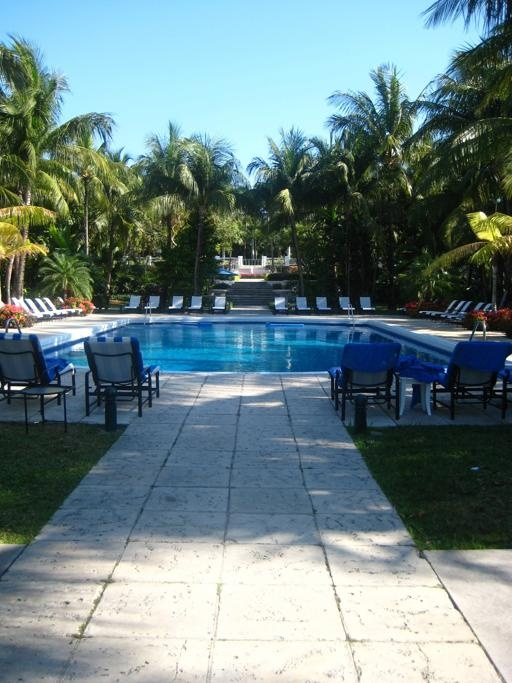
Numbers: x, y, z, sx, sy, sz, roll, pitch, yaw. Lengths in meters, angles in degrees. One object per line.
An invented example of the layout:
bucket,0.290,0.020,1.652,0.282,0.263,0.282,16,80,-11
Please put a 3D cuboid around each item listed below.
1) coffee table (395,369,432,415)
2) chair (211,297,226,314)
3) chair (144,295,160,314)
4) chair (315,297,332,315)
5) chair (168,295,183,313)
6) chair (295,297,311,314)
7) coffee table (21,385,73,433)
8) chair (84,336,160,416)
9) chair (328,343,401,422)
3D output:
coffee table,2.087,0.686,7.126,0.516,0.524,0.530,0,-1,4
chair,-1.791,-1.807,26.024,0.623,1.009,0.791,1,-4,-1
chair,-5.038,-1.815,25.760,0.684,1.162,1.139,4,1,1
chair,3.207,-1.767,25.713,0.551,0.749,0.858,1,4,2
chair,-3.893,-1.855,26.416,0.689,1.022,0.770,3,-1,1
chair,2.236,-1.820,26.058,0.570,0.880,0.874,1,-17,-3
coffee table,-2.559,0.694,6.373,0.628,0.557,0.708,1,2,-7
chair,-1.804,0.394,7.218,0.752,1.012,1.435,1,5,-3
chair,1.416,0.473,6.914,0.887,0.943,1.022,1,4,8
